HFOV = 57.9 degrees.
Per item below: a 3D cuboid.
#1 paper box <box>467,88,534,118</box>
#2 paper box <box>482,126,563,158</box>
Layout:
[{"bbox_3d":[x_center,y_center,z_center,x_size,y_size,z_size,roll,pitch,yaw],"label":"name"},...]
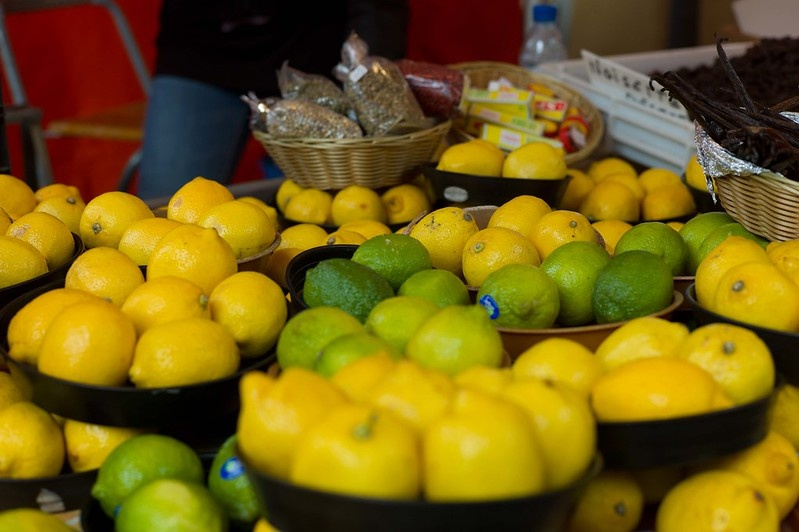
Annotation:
[{"bbox_3d":[0.288,-0.482,2.088,0.118,0.032,0.114,1,6,-32],"label":"paper box"},{"bbox_3d":[0.328,-0.358,2.030,0.155,0.037,0.118,12,1,2],"label":"paper box"}]
